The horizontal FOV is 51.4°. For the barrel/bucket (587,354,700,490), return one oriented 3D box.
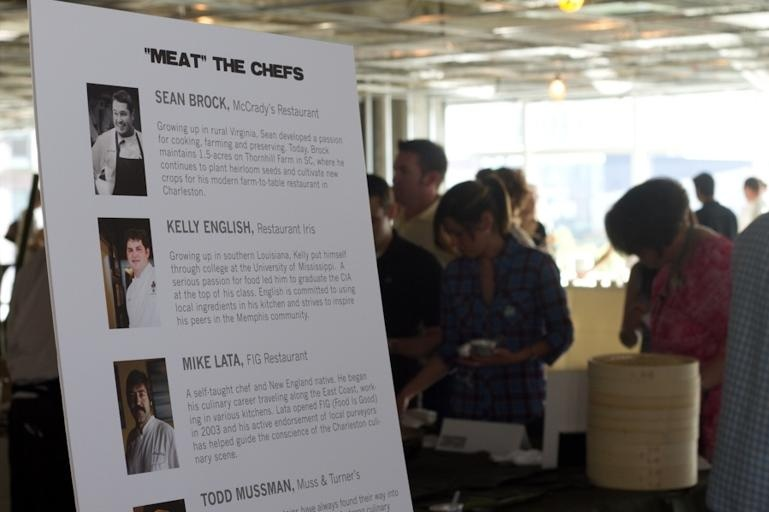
[{"bbox_3d":[1.083,0.769,3.817,0.578,0.613,0.563,0,-3,0],"label":"barrel/bucket"}]
